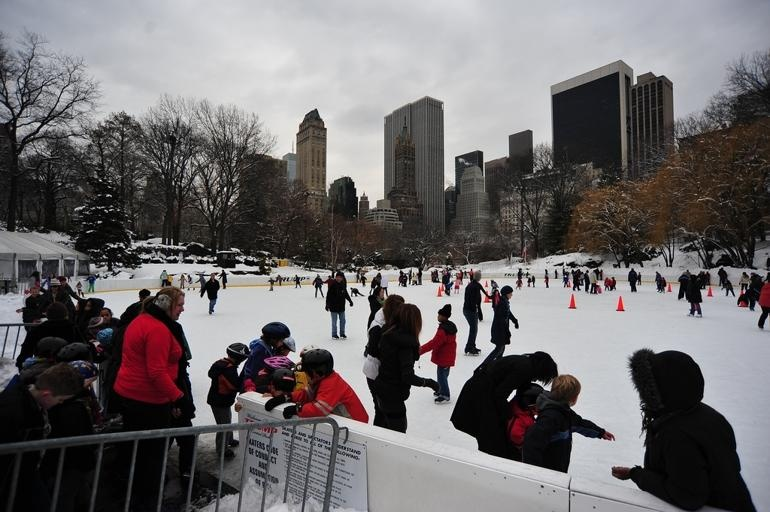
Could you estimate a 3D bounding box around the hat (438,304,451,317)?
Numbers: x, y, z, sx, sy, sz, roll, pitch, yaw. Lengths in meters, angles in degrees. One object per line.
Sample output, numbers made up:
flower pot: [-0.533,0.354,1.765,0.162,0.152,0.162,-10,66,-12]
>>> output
hat: [1.167,1.053,10.907,0.294,0.249,0.163,1,0,-38]

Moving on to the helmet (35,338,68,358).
helmet: [-5.224,1.437,9.070,0.316,0.252,0.456,8,7,14]

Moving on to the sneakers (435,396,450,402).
sneakers: [1.115,2.818,11.259,0.245,0.119,0.117,3,-3,0]

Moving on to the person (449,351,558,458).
person: [1.962,2.215,8.684,1.520,1.646,0.935,-2,-3,43]

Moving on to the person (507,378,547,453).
person: [2.009,2.308,8.510,0.347,0.919,0.661,17,5,25]

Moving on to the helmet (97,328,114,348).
helmet: [-4.984,1.465,10.250,0.271,0.278,0.281,1,-16,-31]

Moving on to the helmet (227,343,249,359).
helmet: [-2.424,1.638,9.615,0.252,0.271,0.326,28,5,33]

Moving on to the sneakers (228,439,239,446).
sneakers: [-2.510,3.111,9.542,0.178,0.127,0.060,-4,3,-16]

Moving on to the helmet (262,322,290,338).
helmet: [-1.825,1.249,9.665,0.361,0.148,0.271,-2,10,-20]

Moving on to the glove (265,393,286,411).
glove: [-1.637,2.187,8.555,0.370,0.141,0.166,-11,0,-20]

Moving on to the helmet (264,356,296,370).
helmet: [-1.696,1.742,9.308,0.354,0.122,0.251,9,0,-31]

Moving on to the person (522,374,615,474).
person: [2.485,2.382,8.181,1.125,1.362,0.337,1,0,-22]

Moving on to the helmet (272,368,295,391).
helmet: [-1.575,1.930,8.980,0.334,0.327,0.540,9,-10,-13]

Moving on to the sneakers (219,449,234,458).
sneakers: [-2.519,3.201,9.320,0.299,0.135,0.110,-3,-5,22]

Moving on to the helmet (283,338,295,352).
helmet: [-1.656,1.527,9.719,0.078,0.242,0.239,-25,-26,19]
